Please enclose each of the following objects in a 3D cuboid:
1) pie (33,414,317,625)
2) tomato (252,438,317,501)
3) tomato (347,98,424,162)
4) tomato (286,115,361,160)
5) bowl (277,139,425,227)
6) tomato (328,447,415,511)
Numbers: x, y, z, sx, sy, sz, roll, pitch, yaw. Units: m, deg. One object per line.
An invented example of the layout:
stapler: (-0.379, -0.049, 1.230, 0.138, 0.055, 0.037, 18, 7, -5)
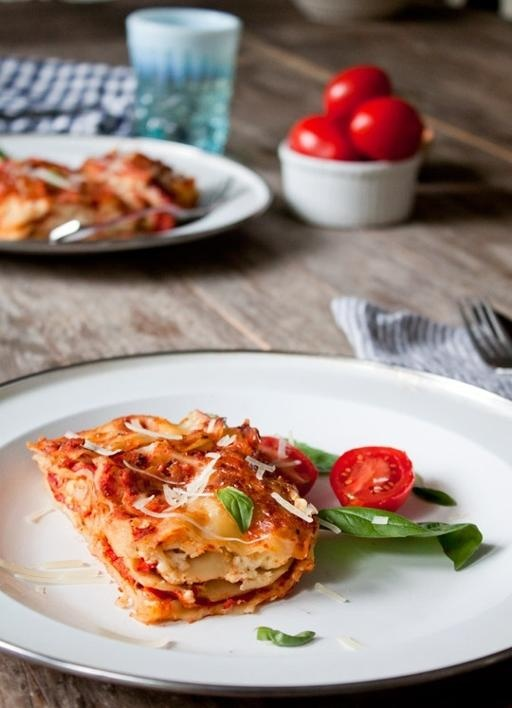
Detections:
pie: (-0.101, 0.152, 0.836, 0.226, 0.099, 0.268, -3, 24, -25)
tomato: (0.056, 0.156, 0.990, 0.087, 0.084, 0.050, 25, 76, 30)
tomato: (0.329, -0.581, 1.808, 0.173, 0.099, 0.183, -6, 31, -12)
tomato: (0.181, -0.559, 1.823, 0.104, 0.084, 0.113, -33, 72, -26)
bowl: (0.261, -0.445, 1.848, 0.289, 0.131, 0.262, -10, 33, -18)
tomato: (0.162, 0.188, 0.977, 0.116, 0.064, 0.109, 9, 33, 16)
